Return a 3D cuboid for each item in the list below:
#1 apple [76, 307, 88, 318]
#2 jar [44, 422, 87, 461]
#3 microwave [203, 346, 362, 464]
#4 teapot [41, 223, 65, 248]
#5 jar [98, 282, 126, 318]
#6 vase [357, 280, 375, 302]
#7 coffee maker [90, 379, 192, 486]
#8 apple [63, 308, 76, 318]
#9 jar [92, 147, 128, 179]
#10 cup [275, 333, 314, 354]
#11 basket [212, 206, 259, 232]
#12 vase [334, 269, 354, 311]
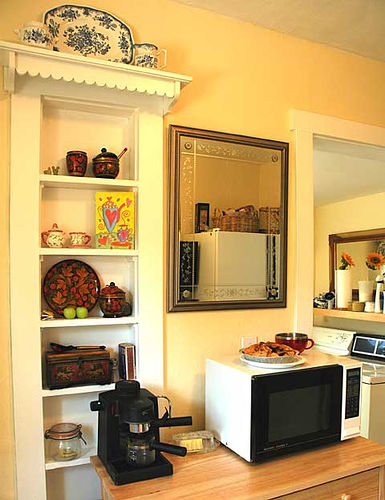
[{"bbox_3d":[-0.364,0.208,1.420,0.035,0.036,0.038,3,5,-15],"label":"apple"},{"bbox_3d":[-0.401,0.623,1.391,0.134,0.091,0.101,1,-3,-4],"label":"jar"},{"bbox_3d":[0.272,0.405,1.436,0.456,0.273,0.325,-2,2,-29],"label":"microwave"},{"bbox_3d":[-0.458,-0.046,1.421,0.077,0.080,0.089,3,5,-17],"label":"teapot"},{"bbox_3d":[-0.271,0.170,1.481,0.099,0.120,0.097,-1,1,0],"label":"jar"},{"bbox_3d":[1.340,0.318,3.339,0.174,0.183,0.137,2,-5,-3],"label":"vase"},{"bbox_3d":[-0.161,0.520,1.316,0.237,0.223,0.288,1,-5,-26],"label":"coffee maker"},{"bbox_3d":[-0.391,0.203,1.381,0.031,0.028,0.030,4,9,13],"label":"apple"},{"bbox_3d":[-0.288,-0.289,1.459,0.077,0.089,0.117,-6,-6,36],"label":"jar"},{"bbox_3d":[0.398,0.352,1.619,0.104,0.047,0.080,1,-6,2],"label":"cup"},{"bbox_3d":[0.173,-0.118,1.717,0.152,0.098,0.103,0,-2,-19],"label":"basket"},{"bbox_3d":[1.230,0.319,3.511,0.155,0.337,0.298,6,5,20],"label":"vase"}]
